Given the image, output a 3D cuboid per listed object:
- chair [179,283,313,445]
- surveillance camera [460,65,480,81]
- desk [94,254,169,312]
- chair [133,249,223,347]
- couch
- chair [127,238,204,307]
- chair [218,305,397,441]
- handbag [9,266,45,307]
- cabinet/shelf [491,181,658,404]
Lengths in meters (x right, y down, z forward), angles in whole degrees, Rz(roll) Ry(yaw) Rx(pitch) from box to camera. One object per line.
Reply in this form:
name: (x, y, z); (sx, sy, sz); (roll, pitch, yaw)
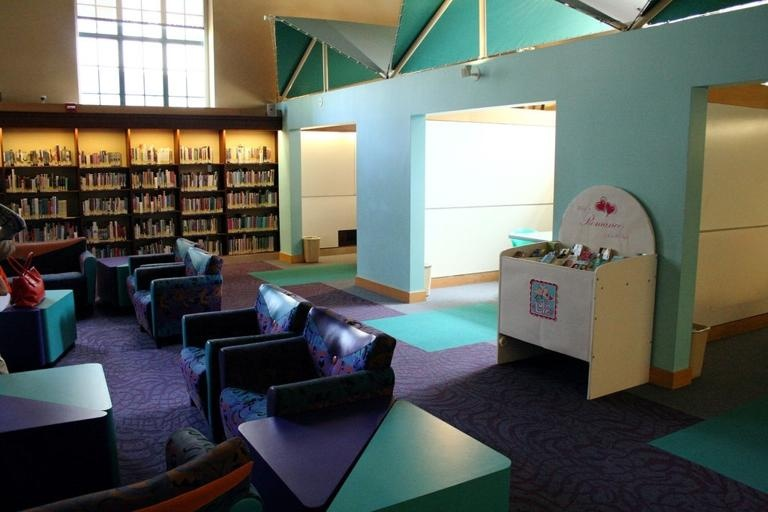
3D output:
chair: (-1.419, 0.945, 5.165); (1.089, 1.053, 0.936); (-2, 10, -31)
surveillance camera: (1.216, -2.538, 7.225); (0.123, 0.204, 0.305); (-8, 16, -31)
desk: (-4.204, 0.332, 8.567); (1.101, 0.667, 1.073); (-4, 6, -37)
chair: (-2.947, 0.471, 7.380); (0.976, 0.980, 1.251); (-8, 16, -33)
couch: (-4.636, 0.296, 7.273); (1.222, 1.009, 0.678); (-3, 7, -33)
chair: (-3.368, 0.217, 8.109); (0.958, 0.861, 0.735); (-11, 22, -41)
chair: (-0.707, 1.086, 4.392); (1.116, 0.984, 1.369); (-3, 6, -34)
handbag: (-4.340, 0.330, 6.371); (0.298, 0.437, 0.618); (-2, 14, -17)
cabinet/shelf: (2.247, 0.282, 6.139); (1.068, 2.114, 1.514); (-7, 9, -28)
